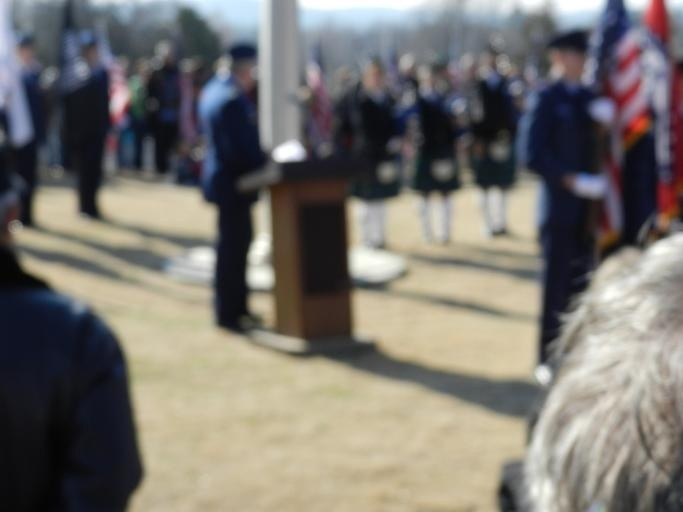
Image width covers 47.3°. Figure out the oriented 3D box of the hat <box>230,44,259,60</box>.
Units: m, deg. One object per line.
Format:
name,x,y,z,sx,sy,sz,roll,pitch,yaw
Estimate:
hat,-0.388,-0.804,3.066,0.112,0.070,0.028,4,13,22
